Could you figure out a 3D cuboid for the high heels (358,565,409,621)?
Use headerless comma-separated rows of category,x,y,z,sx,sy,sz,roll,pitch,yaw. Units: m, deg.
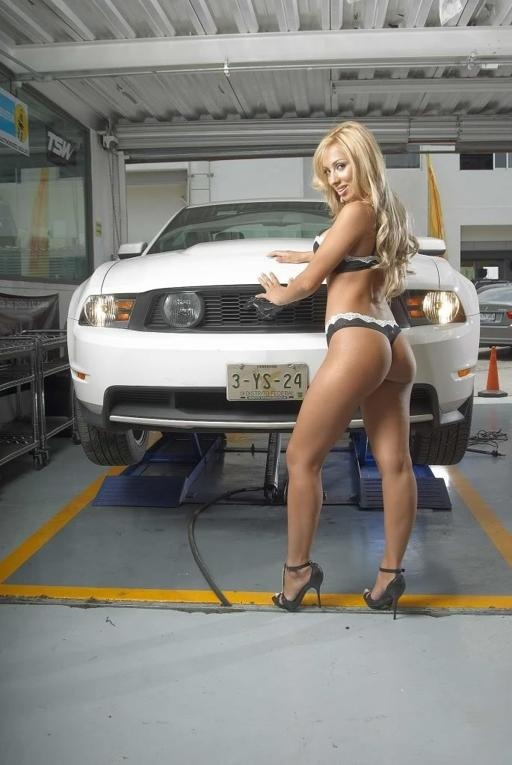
high heels,0.384,0.628,1.676,0.067,0.130,0.137,17,-12,-39

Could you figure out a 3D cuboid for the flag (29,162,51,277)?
flag,-2.167,-1.510,5.430,0.216,1.203,0.145,-5,37,-32

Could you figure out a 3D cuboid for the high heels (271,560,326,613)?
high heels,0.117,0.611,1.654,0.166,0.141,0.076,-2,0,2

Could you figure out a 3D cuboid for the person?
person,0.261,0.007,1.568,0.468,1.407,0.356,-1,3,-5

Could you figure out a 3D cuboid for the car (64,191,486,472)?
car,0.155,-0.475,3.569,1.934,1.223,3.227,1,9,3
